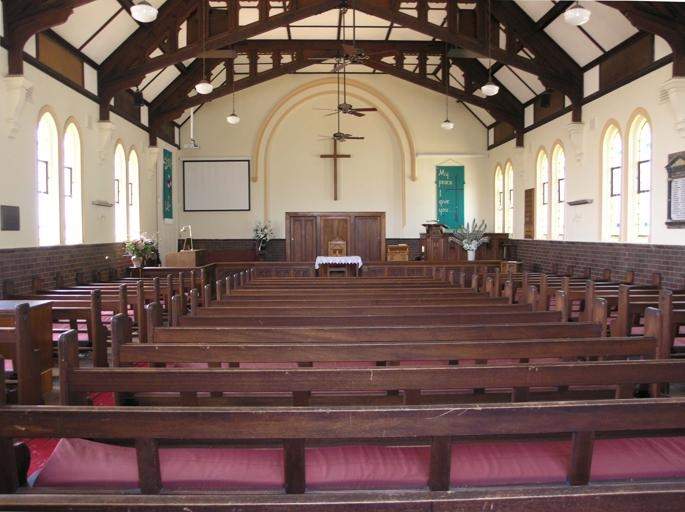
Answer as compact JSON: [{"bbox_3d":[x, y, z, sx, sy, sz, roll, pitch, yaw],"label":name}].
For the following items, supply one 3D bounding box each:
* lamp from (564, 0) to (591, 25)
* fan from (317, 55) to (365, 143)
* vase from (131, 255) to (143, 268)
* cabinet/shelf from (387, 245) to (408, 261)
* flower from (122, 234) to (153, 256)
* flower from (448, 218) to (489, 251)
[{"bbox_3d":[3.011,-3.136,8.134,0.267,0.329,0.401,1,2,29],"label":"lamp"},{"bbox_3d":[-0.010,-4.012,15.965,1.211,2.124,1.248,1,7,-4],"label":"fan"},{"bbox_3d":[-4.089,0.124,12.613,0.219,0.266,0.232,0,8,-6],"label":"vase"},{"bbox_3d":[1.428,-0.060,16.418,0.440,0.305,0.470,0,2,7],"label":"cabinet/shelf"},{"bbox_3d":[-4.021,-0.176,12.513,0.434,0.331,0.428,-5,7,-44],"label":"flower"},{"bbox_3d":[3.167,-0.486,15.624,1.000,0.992,1.090,0,-2,-12],"label":"flower"}]
